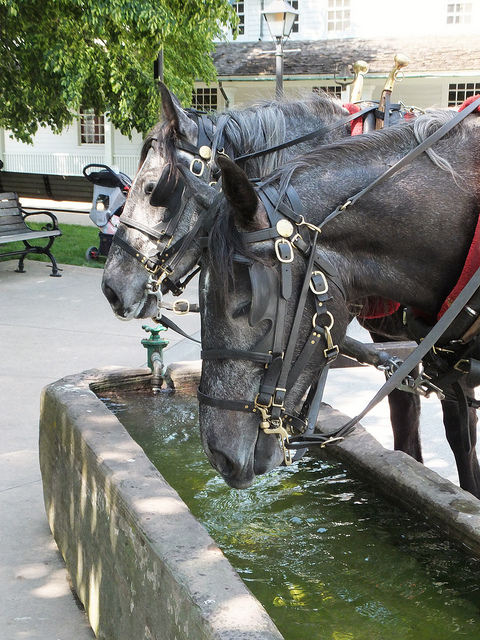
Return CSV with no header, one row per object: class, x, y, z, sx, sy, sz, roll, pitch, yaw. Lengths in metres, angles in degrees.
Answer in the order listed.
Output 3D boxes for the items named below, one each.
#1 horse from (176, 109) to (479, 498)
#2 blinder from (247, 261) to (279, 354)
horse,0.087,0.017,2.128,1.035,1.249,0.887,-15,29,-33
blinder,0.050,-0.027,1.527,0.075,0.217,0.095,4,14,1
